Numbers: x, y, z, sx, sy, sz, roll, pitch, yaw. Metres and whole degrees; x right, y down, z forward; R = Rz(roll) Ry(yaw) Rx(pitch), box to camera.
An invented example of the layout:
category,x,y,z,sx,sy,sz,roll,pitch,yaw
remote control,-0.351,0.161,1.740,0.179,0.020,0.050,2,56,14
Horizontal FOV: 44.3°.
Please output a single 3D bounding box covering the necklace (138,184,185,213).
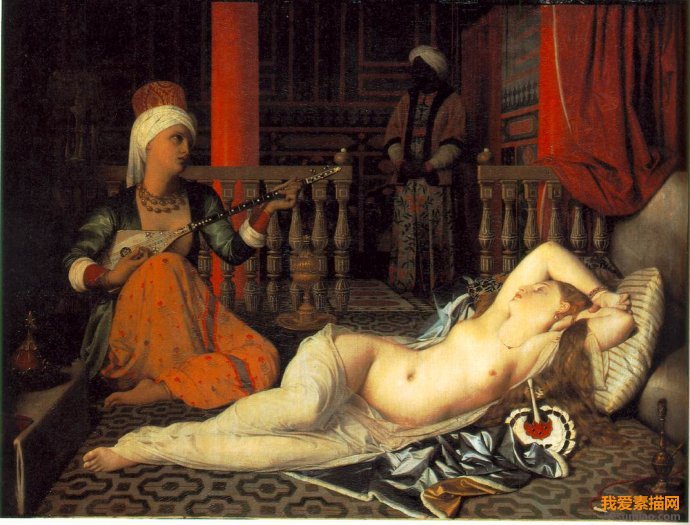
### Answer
category,x,y,z,sx,sy,sz,roll,pitch,yaw
necklace,-1.187,-0.395,5.478,0.233,0.203,0.069,12,-40,-1
